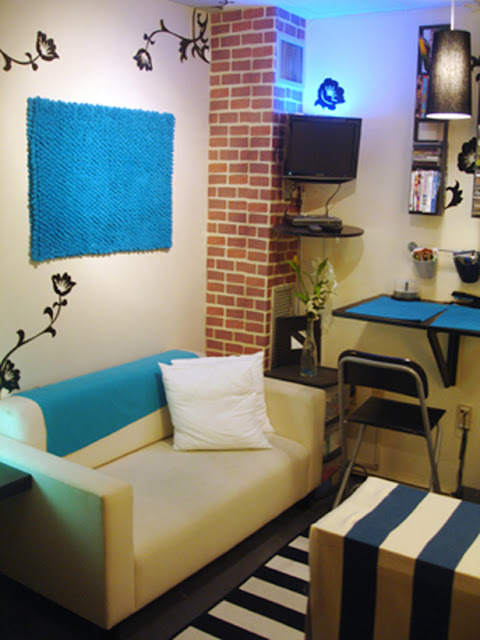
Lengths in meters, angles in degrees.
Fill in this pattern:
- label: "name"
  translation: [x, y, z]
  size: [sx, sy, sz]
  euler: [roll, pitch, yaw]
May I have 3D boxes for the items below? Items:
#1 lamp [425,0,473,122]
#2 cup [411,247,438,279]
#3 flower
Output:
- label: "lamp"
  translation: [0.808, -0.951, 1.941]
  size: [0.158, 0.323, 0.137]
  euler: [5, 7, 19]
- label: "cup"
  translation: [0.980, -0.310, 2.693]
  size: [0.144, 0.180, 0.156]
  euler: [-1, 4, 0]
- label: "flower"
  translation: [0.326, -0.177, 3.039]
  size: [0.423, 0.581, 0.350]
  euler: [2, 1, 1]
